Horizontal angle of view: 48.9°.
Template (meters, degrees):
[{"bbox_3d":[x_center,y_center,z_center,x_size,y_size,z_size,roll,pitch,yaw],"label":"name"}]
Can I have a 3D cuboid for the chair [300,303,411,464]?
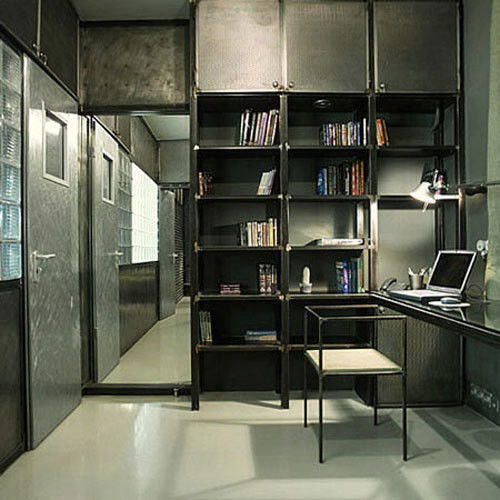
[{"bbox_3d":[0.614,0.615,3.316,0.545,0.977,1.099,-1,2,-1],"label":"chair"}]

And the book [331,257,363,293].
[{"bbox_3d":[0.661,0.167,3.774,0.180,0.315,0.196,-1,1,-4],"label":"book"}]

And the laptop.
[{"bbox_3d":[1.085,0.150,3.248,0.304,0.264,0.358,-1,-2,-14],"label":"laptop"}]

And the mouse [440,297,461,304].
[{"bbox_3d":[1.047,0.269,2.873,0.064,0.031,0.056,-1,-3,6],"label":"mouse"}]

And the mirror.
[{"bbox_3d":[-1.027,-0.015,4.987,0.562,2.078,1.875,0,-7,-7],"label":"mirror"}]

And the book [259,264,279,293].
[{"bbox_3d":[0.130,0.199,3.838,0.133,0.246,0.169,0,-3,2],"label":"book"}]

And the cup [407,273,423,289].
[{"bbox_3d":[1.043,0.201,3.492,0.072,0.102,0.086,0,-5,1],"label":"cup"}]

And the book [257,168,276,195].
[{"bbox_3d":[0.126,-0.475,3.745,0.034,0.180,0.154,11,-3,-25],"label":"book"}]

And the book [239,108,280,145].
[{"bbox_3d":[0.064,-0.786,3.813,0.253,0.323,0.215,1,-2,1],"label":"book"}]
